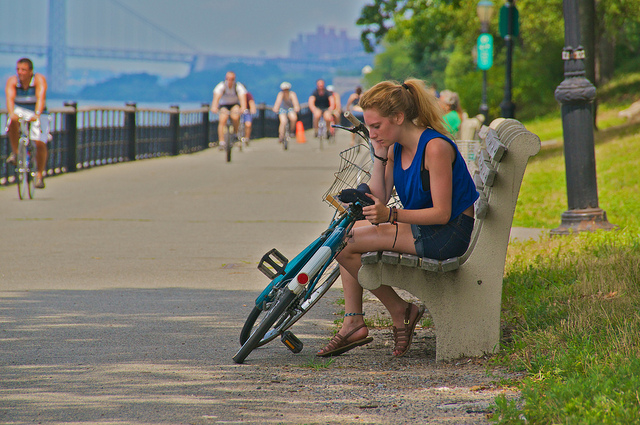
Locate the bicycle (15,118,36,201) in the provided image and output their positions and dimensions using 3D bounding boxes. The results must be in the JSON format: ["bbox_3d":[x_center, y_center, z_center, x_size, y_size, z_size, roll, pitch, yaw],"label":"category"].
[{"bbox_3d":[-5.347,-1.014,28.743,0.371,1.473,0.473,-2,7,-10],"label":"bicycle"}]

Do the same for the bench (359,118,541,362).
[{"bbox_3d":[2.284,0.080,23.756,2.727,3.092,4.724,-3,9,10],"label":"bench"}]

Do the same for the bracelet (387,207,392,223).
[{"bbox_3d":[0.943,0.022,21.513,0.058,0.192,0.038,3,8,21],"label":"bracelet"}]

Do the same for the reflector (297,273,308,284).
[{"bbox_3d":[-0.238,0.887,21.572,0.128,0.144,0.025,0,7,-2],"label":"reflector"}]

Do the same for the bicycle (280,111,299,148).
[{"bbox_3d":[-0.820,-2.177,40.368,0.240,0.949,0.337,-1,-4,33],"label":"bicycle"}]

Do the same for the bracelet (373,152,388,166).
[{"bbox_3d":[0.838,-0.767,21.995,0.178,0.093,0.143,36,21,20],"label":"bracelet"}]

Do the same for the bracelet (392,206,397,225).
[{"bbox_3d":[1.013,0.024,21.552,0.061,0.184,0.132,0,-3,0],"label":"bracelet"}]
